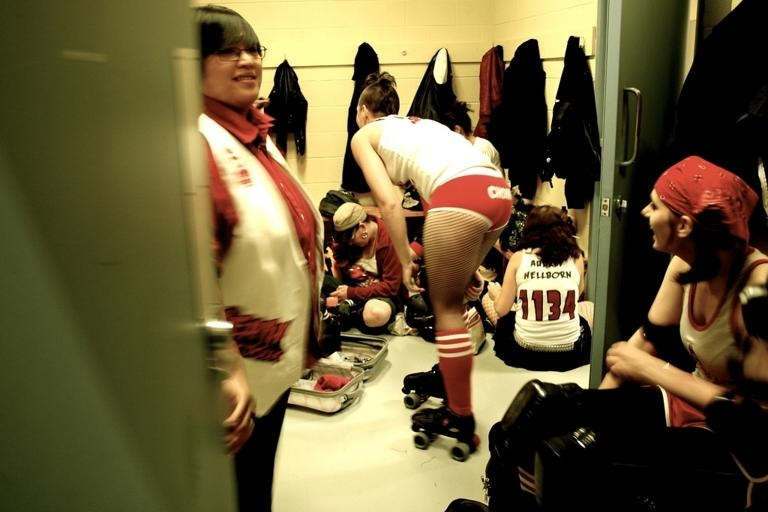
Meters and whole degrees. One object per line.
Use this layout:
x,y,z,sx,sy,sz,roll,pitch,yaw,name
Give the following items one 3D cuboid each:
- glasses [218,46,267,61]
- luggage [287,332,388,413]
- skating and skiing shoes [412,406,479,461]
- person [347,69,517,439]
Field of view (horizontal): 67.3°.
-0.289,-0.414,1.179,0.037,0.024,0.124,6,21,23,glasses
-0.175,0.463,2.604,0.615,0.203,0.285,5,12,26,luggage
0.217,0.614,2.074,0.243,0.149,0.140,7,10,33,skating and skiing shoes
0.148,-0.016,2.123,0.398,1.345,0.776,1,-4,-36,person
